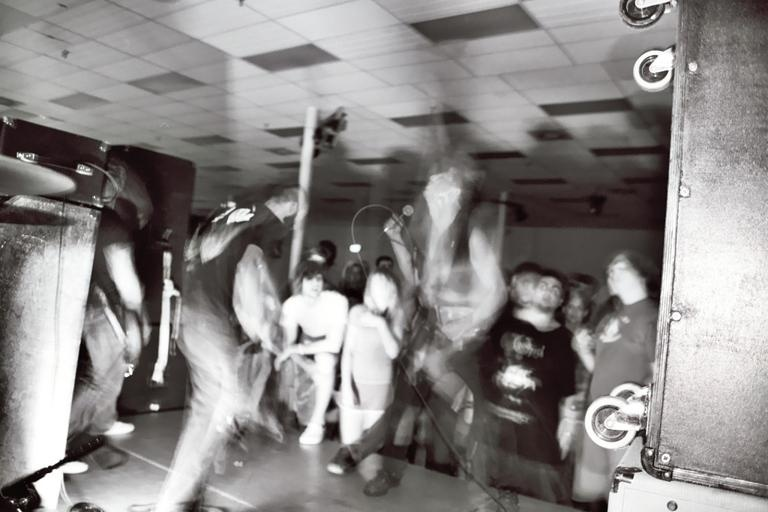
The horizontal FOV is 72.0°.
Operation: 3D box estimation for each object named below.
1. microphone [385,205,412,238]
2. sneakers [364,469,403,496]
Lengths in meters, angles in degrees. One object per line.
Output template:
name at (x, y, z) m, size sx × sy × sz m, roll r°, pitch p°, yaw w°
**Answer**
microphone at (0.124, -0.241, 3.628) m, size 0.162 × 0.232 × 0.045 m, roll 51°, pitch 23°, yaw 20°
sneakers at (-0.002, 1.447, 3.387) m, size 0.273 × 0.118 × 0.105 m, roll 0°, pitch 3°, yaw -43°
